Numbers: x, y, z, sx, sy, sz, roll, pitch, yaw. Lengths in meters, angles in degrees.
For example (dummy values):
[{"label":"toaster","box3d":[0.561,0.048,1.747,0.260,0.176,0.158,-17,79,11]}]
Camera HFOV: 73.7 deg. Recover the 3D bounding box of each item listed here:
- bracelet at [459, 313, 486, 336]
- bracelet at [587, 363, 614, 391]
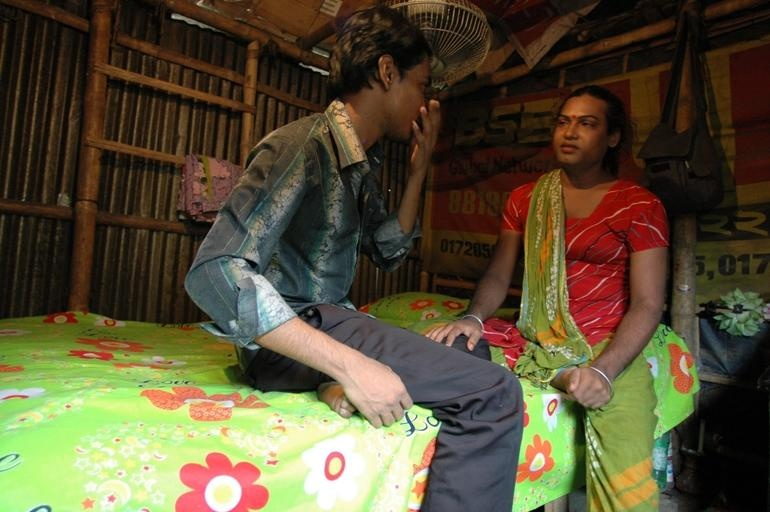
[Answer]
[{"label":"bracelet","box3d":[0.470,0.364,2.747,0.102,0.028,0.107,26,0,23]},{"label":"bracelet","box3d":[0.992,0.545,2.337,0.106,0.028,0.104,40,-1,35]}]
